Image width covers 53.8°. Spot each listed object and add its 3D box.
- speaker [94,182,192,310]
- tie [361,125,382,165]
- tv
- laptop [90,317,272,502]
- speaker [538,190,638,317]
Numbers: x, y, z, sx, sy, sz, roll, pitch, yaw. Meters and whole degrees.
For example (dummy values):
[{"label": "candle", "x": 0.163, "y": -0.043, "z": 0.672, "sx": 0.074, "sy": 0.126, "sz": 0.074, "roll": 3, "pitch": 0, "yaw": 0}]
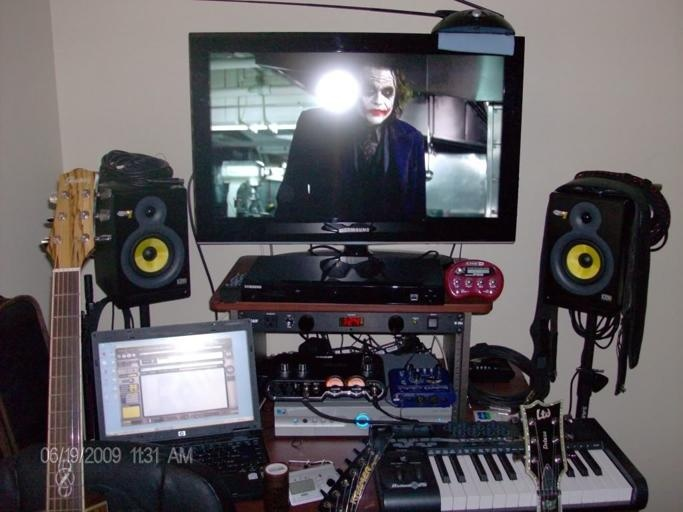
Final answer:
[{"label": "speaker", "x": -0.781, "y": -0.092, "z": 2.725, "sx": 0.281, "sy": 0.468, "sz": 0.324, "roll": -10, "pitch": 26, "yaw": -28}, {"label": "tie", "x": 0.119, "y": -0.451, "z": 2.702, "sx": 0.095, "sy": 0.141, "sz": 0.040, "roll": 4, "pitch": 4, "yaw": 4}, {"label": "tv", "x": 0.061, "y": -0.419, "z": 2.692, "sx": 0.959, "sy": 0.724, "sz": 0.147, "roll": 0, "pitch": 8, "yaw": -1}, {"label": "laptop", "x": -0.581, "y": 0.506, "z": 2.501, "sx": 0.613, "sy": 0.474, "sz": 0.561, "roll": -2, "pitch": 14, "yaw": -12}, {"label": "speaker", "x": 0.958, "y": -0.054, "z": 2.645, "sx": 0.289, "sy": 0.445, "sz": 0.232, "roll": 8, "pitch": 23, "yaw": 26}]
